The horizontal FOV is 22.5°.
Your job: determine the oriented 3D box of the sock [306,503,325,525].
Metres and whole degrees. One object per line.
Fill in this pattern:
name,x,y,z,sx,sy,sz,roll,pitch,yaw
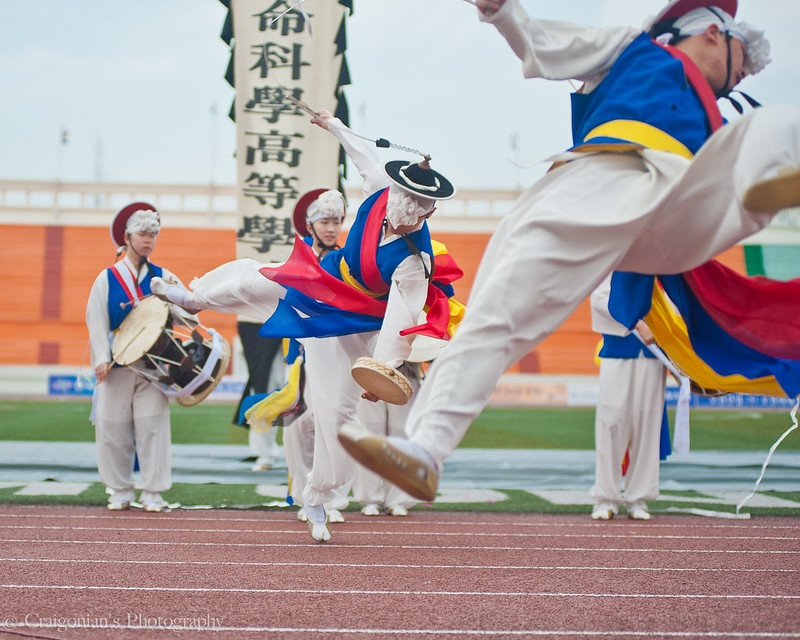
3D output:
sock,-0.750,1.757,18.116,0.093,0.238,0.100,0,-14,-19

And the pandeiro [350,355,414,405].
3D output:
pandeiro,-0.149,0.529,17.225,0.465,0.102,0.452,32,-32,-13

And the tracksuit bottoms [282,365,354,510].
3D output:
tracksuit bottoms,-0.768,1.203,19.594,0.477,1.302,0.451,-9,16,-5

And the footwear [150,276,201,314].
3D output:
footwear,-2.155,-0.240,19.167,0.435,0.162,0.328,26,-6,27

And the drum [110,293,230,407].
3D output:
drum,-2.228,0.294,19.496,0.790,0.751,0.822,-21,-47,33

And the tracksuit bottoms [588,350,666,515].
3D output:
tracksuit bottoms,2.274,0.954,19.536,0.791,2.010,0.642,4,-32,7

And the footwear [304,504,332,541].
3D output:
footwear,-0.754,1.844,18.143,0.156,0.385,0.159,-17,-11,-21
